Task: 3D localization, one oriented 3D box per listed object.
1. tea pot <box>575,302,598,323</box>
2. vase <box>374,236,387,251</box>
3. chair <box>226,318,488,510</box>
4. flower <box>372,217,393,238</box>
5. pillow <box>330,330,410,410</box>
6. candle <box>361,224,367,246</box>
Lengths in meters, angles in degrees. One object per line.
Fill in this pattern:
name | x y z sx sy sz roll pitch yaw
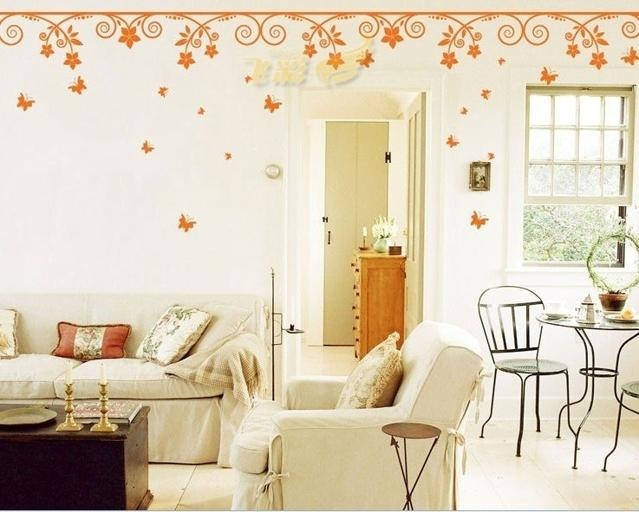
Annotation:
tea pot | 1.789 0.367 4.149 0.151 0.172 0.171 -1 0 32
vase | 0.625 -0.122 6.273 0.125 0.134 0.123 -1 3 -7
chair | 0.214 0.735 3.215 1.129 0.959 0.949 2 -3 5
flower | 0.649 -0.302 6.360 0.237 0.149 0.239 9 -10 -12
pillow | 0.277 0.581 3.148 0.103 0.356 0.348 24 47 3
candle | 0.502 -0.225 6.784 0.059 0.211 0.177 2 11 3
